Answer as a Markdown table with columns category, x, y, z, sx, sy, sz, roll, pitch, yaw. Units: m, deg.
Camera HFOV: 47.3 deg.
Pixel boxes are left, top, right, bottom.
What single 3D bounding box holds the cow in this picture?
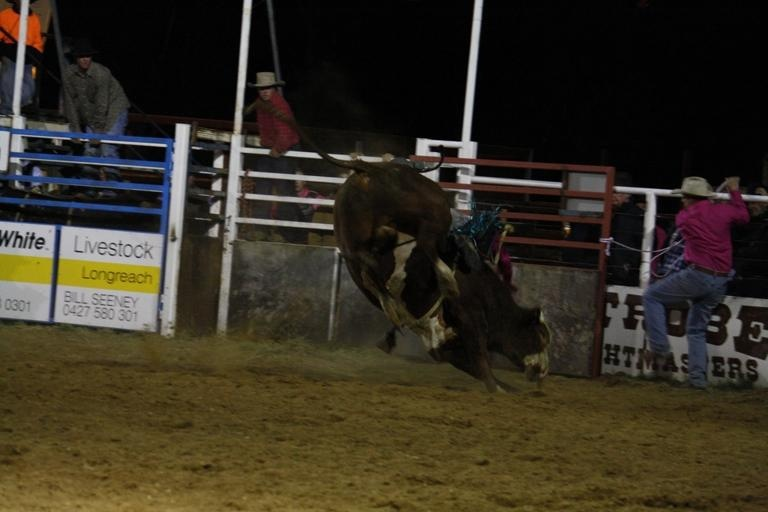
| category | x | y | z | sx | sy | sz | roll | pitch | yaw |
| --- | --- | --- | --- | --- | --- | --- | --- | --- | --- |
| cow | 0.068 | -0.007 | 12.355 | 1.350 | 5.205 | 2.080 | -43 | 7 | 10 |

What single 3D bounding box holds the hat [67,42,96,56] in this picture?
| category | x | y | z | sx | sy | sz | roll | pitch | yaw |
| --- | --- | --- | --- | --- | --- | --- | --- | --- | --- |
| hat | -4.931 | -3.350 | 14.412 | 0.377 | 0.243 | 0.417 | 5 | -5 | -23 |

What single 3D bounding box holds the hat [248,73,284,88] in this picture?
| category | x | y | z | sx | sy | sz | roll | pitch | yaw |
| --- | --- | --- | --- | --- | --- | --- | --- | --- | --- |
| hat | -1.823 | -2.722 | 13.825 | 0.533 | 0.161 | 0.520 | -3 | 5 | -4 |

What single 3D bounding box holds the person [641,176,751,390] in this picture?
| category | x | y | z | sx | sy | sz | roll | pitch | yaw |
| --- | --- | --- | --- | --- | --- | --- | --- | --- | --- |
| person | 4.379 | 0.366 | 12.348 | 1.313 | 2.950 | 0.715 | 2 | -6 | 23 |

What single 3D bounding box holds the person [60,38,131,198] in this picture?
| category | x | y | z | sx | sy | sz | roll | pitch | yaw |
| --- | --- | --- | --- | --- | --- | --- | --- | --- | --- |
| person | -4.739 | -2.244 | 14.516 | 1.044 | 2.459 | 1.365 | 9 | -7 | -37 |
